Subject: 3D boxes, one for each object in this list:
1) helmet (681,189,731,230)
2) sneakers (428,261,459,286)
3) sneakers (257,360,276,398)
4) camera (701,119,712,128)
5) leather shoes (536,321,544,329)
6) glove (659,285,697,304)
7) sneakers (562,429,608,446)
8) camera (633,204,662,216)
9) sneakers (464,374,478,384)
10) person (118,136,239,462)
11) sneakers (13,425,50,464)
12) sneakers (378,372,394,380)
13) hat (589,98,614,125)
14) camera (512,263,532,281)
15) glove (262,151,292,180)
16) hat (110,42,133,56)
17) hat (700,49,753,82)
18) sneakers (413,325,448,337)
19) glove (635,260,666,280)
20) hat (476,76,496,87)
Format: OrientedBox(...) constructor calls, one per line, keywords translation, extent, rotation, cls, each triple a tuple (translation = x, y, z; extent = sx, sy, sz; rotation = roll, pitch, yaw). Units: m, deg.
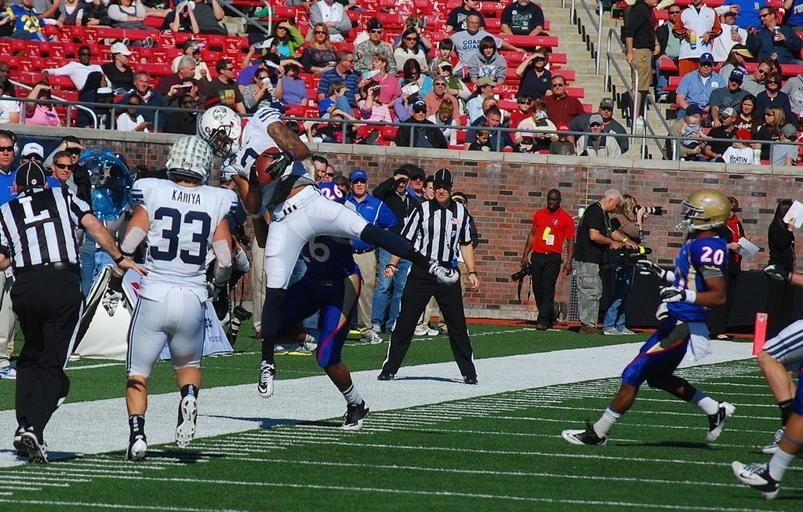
OrientedBox(translation=(3.623, -0.549, 15.928), extent=(0.559, 0.444, 0.440), rotation=(6, 8, 25), cls="helmet")
OrientedBox(translation=(0.484, 0.194, 15.284), extent=(0.150, 0.190, 0.358), rotation=(-18, -23, 39), cls="sneakers")
OrientedBox(translation=(-1.608, 1.429, 15.953), extent=(0.181, 0.509, 0.260), rotation=(-1, -11, 1), cls="sneakers")
OrientedBox(translation=(6.098, -2.622, 26.864), extent=(0.134, 0.063, 0.215), rotation=(9, 26, 10), cls="camera")
OrientedBox(translation=(2.532, 1.227, 24.299), extent=(0.160, 0.129, 0.121), rotation=(0, 3, -1), cls="leather shoes")
OrientedBox(translation=(3.225, 0.418, 15.695), extent=(0.325, 0.137, 0.203), rotation=(4, -38, -9), cls="glove")
OrientedBox(translation=(2.159, 2.103, 16.027), extent=(0.571, 0.210, 0.213), rotation=(5, 19, 11), cls="sneakers")
OrientedBox(translation=(4.639, -0.863, 25.400), extent=(0.586, 0.177, 0.220), rotation=(0, -20, -18), cls="camera")
OrientedBox(translation=(0.971, 1.670, 18.769), extent=(0.198, 0.139, 0.214), rotation=(1, 3, 2), cls="sneakers")
OrientedBox(translation=(-2.508, 0.424, 14.930), extent=(1.185, 3.486, 0.598), rotation=(0, 3, -12), cls="person")
OrientedBox(translation=(-4.103, 2.049, 14.852), extent=(0.220, 0.267, 0.585), rotation=(-13, -46, 17), cls="sneakers")
OrientedBox(translation=(-0.218, 1.632, 18.797), extent=(0.176, 0.146, 0.120), rotation=(6, -5, -11), cls="sneakers")
OrientedBox(translation=(3.981, -2.811, 26.420), extent=(0.359, 0.309, 0.610), rotation=(22, -1, 7), cls="hat")
OrientedBox(translation=(2.197, 0.296, 24.557), extent=(0.307, 0.130, 0.307), rotation=(-31, 5, 16), cls="camera")
OrientedBox(translation=(-1.449, -1.061, 15.775), extent=(0.270, 0.363, 0.142), rotation=(32, -26, 18), cls="glove")
OrientedBox(translation=(-5.489, -3.975, 26.152), extent=(0.468, 0.231, 0.346), rotation=(0, 7, -6), cls="hat")
OrientedBox(translation=(6.776, -3.898, 28.020), extent=(0.365, 1.119, 0.339), rotation=(46, -12, 37), cls="hat")
OrientedBox(translation=(0.487, 1.276, 23.392), extent=(0.614, 0.261, 0.216), rotation=(0, 4, -5), cls="sneakers")
OrientedBox(translation=(3.505, 0.198, 19.042), extent=(0.370, 0.289, 0.152), rotation=(38, -44, -11), cls="glove")
OrientedBox(translation=(1.707, -3.468, 27.061), extent=(0.342, 0.157, 0.245), rotation=(-1, 2, 0), cls="hat")
